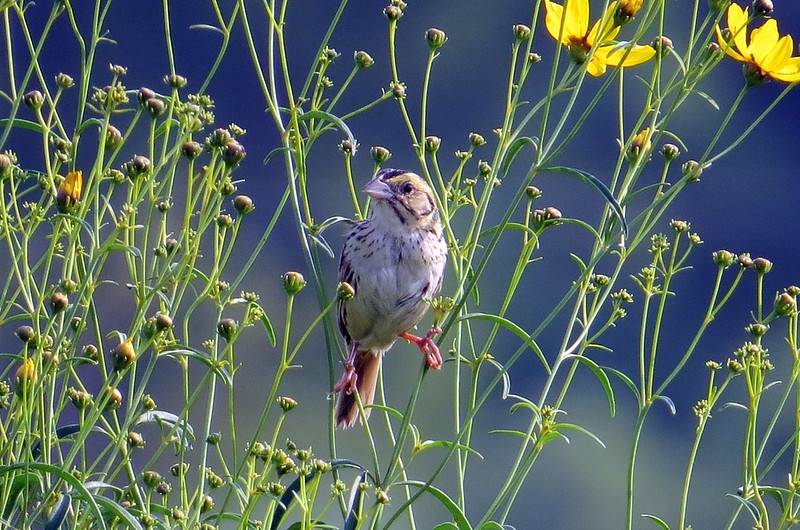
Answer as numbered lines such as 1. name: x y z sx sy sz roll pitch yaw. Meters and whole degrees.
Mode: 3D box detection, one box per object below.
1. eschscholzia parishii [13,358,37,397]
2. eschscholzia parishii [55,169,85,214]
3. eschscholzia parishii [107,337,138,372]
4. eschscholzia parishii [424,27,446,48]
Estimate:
1. eschscholzia parishii: -1.131 0.337 3.243 0.053 0.133 0.066 14 19 -14
2. eschscholzia parishii: -1.026 -0.231 3.320 0.076 0.117 0.057 13 -8 0
3. eschscholzia parishii: -0.850 0.276 3.300 0.072 0.083 0.075 14 -8 -5
4. eschscholzia parishii: 0.133 -0.850 4.023 0.079 0.102 0.080 -5 16 -27
